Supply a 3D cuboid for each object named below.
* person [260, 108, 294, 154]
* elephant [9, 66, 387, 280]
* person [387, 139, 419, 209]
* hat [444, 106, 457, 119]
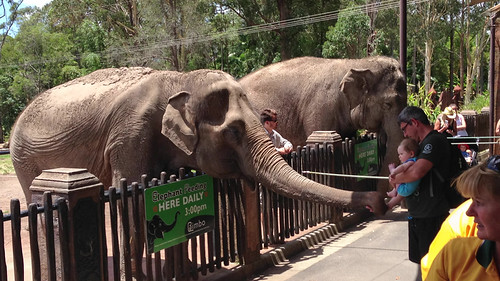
[{"bbox_3d":[0.609,-0.237,10.229,0.425,0.881,0.688,-24,30,15],"label":"person"},{"bbox_3d":[-2.035,0.109,10.254,8.796,4.608,2.862,-6,5,10],"label":"elephant"},{"bbox_3d":[2.493,0.604,7.403,0.495,1.248,0.615,1,12,17],"label":"person"},{"bbox_3d":[6.330,-0.889,14.541,0.354,0.151,0.388,-22,44,-30],"label":"hat"}]
